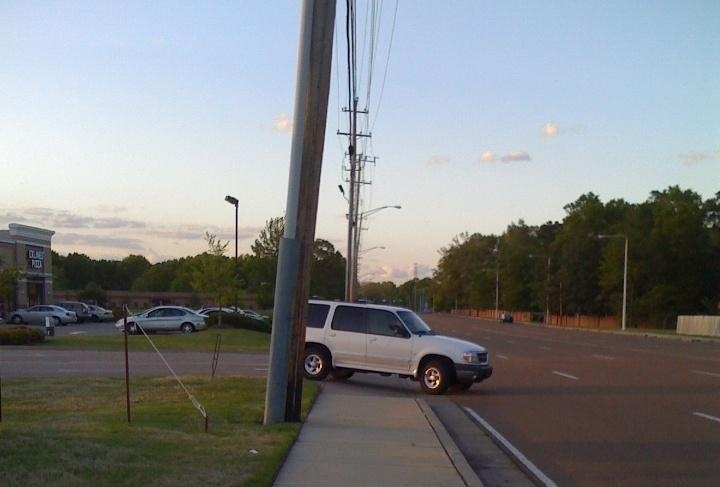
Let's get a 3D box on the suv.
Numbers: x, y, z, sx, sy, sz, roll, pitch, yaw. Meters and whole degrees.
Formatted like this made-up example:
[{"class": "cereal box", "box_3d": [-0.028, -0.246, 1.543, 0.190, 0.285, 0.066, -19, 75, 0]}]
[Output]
[{"class": "suv", "box_3d": [1.469, 3.189, 20.421, 5.576, 2.564, 2.898, -2, -5, 22]}]
